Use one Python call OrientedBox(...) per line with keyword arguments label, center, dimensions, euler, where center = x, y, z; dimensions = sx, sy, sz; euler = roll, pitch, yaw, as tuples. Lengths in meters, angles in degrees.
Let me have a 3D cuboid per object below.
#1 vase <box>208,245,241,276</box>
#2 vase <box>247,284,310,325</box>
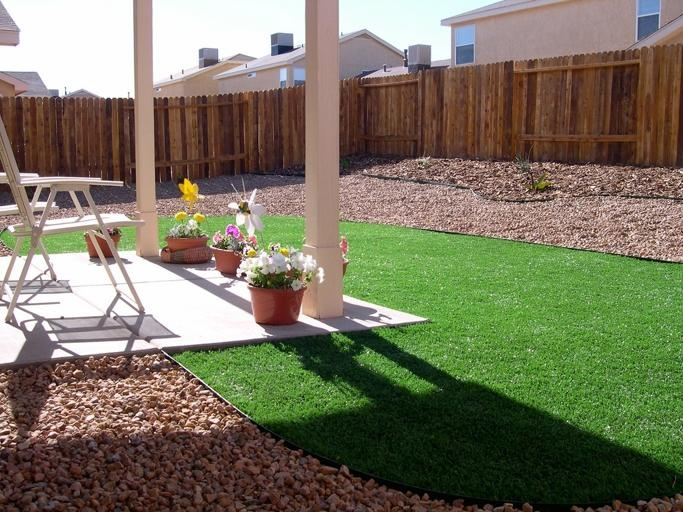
OrientedBox(label="vase", center=(-1.023, -0.017, 4.582), dimensions=(0.306, 0.216, 0.280), euler=(3, 4, 2))
OrientedBox(label="vase", center=(-0.428, 0.291, 3.198), dimensions=(0.250, 0.164, 0.268), euler=(1, 5, 8))
